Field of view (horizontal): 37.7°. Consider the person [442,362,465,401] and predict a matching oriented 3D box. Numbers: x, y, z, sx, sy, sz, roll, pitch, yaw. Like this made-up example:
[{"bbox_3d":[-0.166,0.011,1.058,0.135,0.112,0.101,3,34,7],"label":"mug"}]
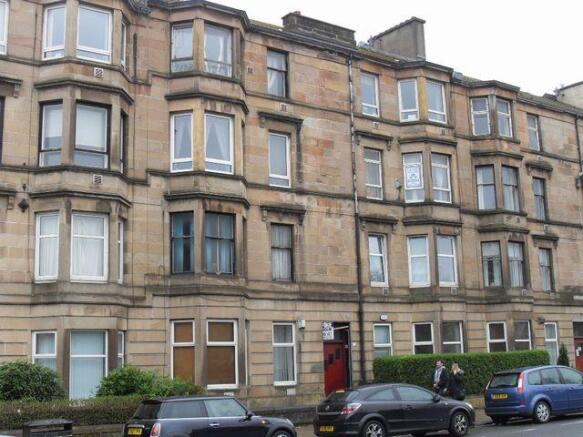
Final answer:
[{"bbox_3d":[6.726,6.927,35.423,0.759,2.029,0.626,1,21,19],"label":"person"}]
